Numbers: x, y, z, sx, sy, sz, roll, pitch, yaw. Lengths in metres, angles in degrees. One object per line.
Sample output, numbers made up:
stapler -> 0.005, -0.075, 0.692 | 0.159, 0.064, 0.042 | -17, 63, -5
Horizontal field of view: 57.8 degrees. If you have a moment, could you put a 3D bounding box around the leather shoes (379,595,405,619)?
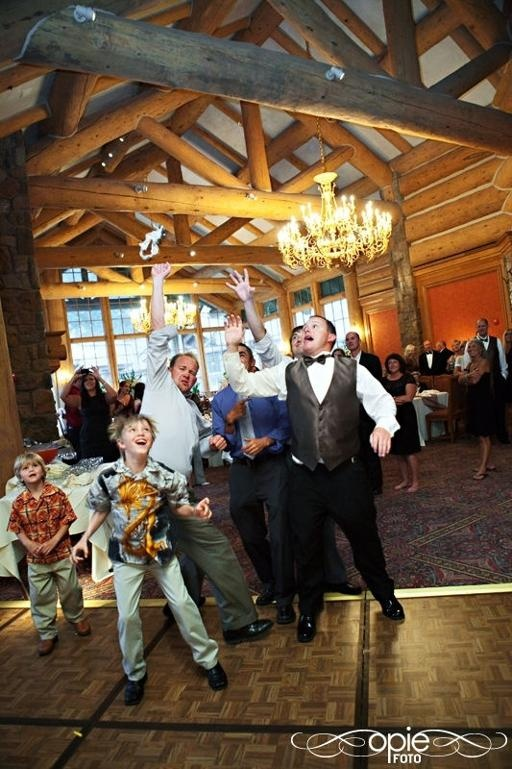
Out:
leather shoes -> 0.590, 0.967, 1.985 | 0.067, 0.056, 0.141 | -14, -23, -11

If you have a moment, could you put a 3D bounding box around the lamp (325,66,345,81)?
lamp -> 0.675, -2.597, 3.896 | 0.173, 0.128, 0.102 | 1, 23, -5

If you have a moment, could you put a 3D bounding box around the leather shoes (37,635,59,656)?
leather shoes -> -0.961, 1.210, 2.138 | 0.046, 0.043, 0.113 | 0, -14, 0

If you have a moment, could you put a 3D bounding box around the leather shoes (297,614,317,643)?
leather shoes -> 0.208, 1.025, 1.926 | 0.053, 0.048, 0.130 | -2, -8, 8

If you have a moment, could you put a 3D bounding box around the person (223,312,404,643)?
person -> 0.283, 0.364, 1.954 | 0.693, 1.111, 0.413 | -13, -5, 26

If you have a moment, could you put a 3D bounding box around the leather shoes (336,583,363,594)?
leather shoes -> 0.480, 1.026, 2.341 | 0.138, 0.049, 0.045 | -6, -5, 29

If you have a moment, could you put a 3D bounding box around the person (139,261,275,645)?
person -> -0.347, 0.361, 2.134 | 0.637, 1.474, 0.399 | -13, 3, -14

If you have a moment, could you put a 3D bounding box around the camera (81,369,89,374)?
camera -> -1.539, -0.111, 4.134 | 0.066, 0.039, 0.014 | -4, -14, -21

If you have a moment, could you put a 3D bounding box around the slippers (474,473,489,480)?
slippers -> 2.084, 0.851, 4.269 | 0.151, 0.034, 0.057 | -4, -2, -42

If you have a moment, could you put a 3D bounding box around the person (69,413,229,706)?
person -> -0.363, 0.625, 1.764 | 0.580, 1.018, 0.332 | -12, -5, 17

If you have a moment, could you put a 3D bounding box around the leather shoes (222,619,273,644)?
leather shoes -> -0.039, 1.074, 2.056 | 0.228, 0.095, 0.082 | -12, 12, -4
